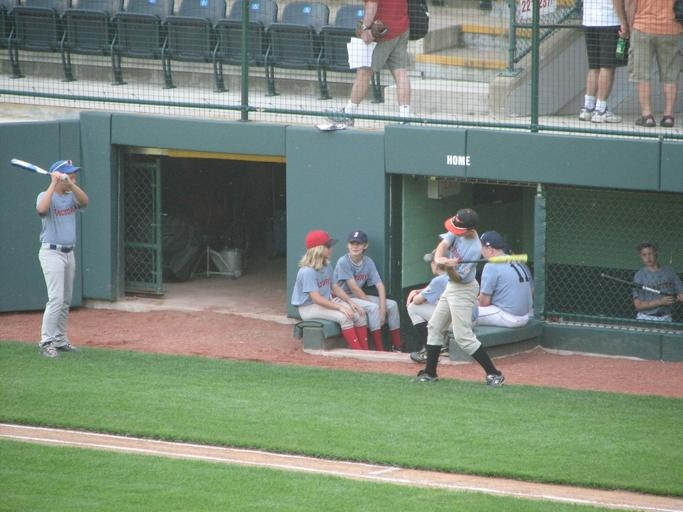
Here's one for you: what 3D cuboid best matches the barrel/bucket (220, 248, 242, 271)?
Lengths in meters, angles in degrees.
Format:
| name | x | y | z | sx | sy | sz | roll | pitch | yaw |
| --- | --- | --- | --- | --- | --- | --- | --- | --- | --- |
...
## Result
| name | x | y | z | sx | sy | sz | roll | pitch | yaw |
| --- | --- | --- | --- | --- | --- | --- | --- | --- | --- |
| barrel/bucket | -1.563 | 0.072 | 19.536 | 0.316 | 0.297 | 0.252 | 0 | 2 | -14 |

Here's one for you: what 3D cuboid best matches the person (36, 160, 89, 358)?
| name | x | y | z | sx | sy | sz | roll | pitch | yaw |
| --- | --- | --- | --- | --- | --- | --- | --- | --- | --- |
| person | -3.047 | 0.021 | 14.745 | 0.532 | 2.131 | 0.363 | -1 | 3 | -29 |

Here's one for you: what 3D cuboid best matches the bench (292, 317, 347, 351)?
| name | x | y | z | sx | sy | sz | roll | pitch | yaw |
| --- | --- | --- | --- | --- | --- | --- | --- | --- | --- |
| bench | -0.274 | 0.900 | 15.537 | 0.346 | 0.235 | 0.455 | 1 | 3 | 19 |

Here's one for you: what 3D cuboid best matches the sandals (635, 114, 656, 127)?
| name | x | y | z | sx | sy | sz | roll | pitch | yaw |
| --- | --- | --- | --- | --- | --- | --- | --- | --- | --- |
| sandals | 3.518 | -1.574 | 15.631 | 0.111 | 0.114 | 0.263 | -2 | 6 | -23 |

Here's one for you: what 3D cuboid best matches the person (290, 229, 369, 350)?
| name | x | y | z | sx | sy | sz | roll | pitch | yaw |
| --- | --- | --- | --- | --- | --- | --- | --- | --- | --- |
| person | -0.045 | 0.490 | 15.693 | 1.008 | 1.463 | 0.617 | 0 | 8 | 31 |

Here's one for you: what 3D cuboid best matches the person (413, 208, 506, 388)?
| name | x | y | z | sx | sy | sz | roll | pitch | yaw |
| --- | --- | --- | --- | --- | --- | --- | --- | --- | --- |
| person | 1.233 | 0.415 | 14.132 | 0.847 | 1.829 | 1.040 | 0 | 3 | 3 |

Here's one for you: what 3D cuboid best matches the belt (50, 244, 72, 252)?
| name | x | y | z | sx | sy | sz | roll | pitch | yaw |
| --- | --- | --- | --- | --- | --- | --- | --- | --- | --- |
| belt | -3.030 | -0.083 | 14.692 | 0.253 | 0.099 | 0.068 | -2 | 4 | -38 |

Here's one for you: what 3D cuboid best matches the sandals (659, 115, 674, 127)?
| name | x | y | z | sx | sy | sz | roll | pitch | yaw |
| --- | --- | --- | --- | --- | --- | --- | --- | --- | --- |
| sandals | 3.767 | -1.566 | 15.612 | 0.157 | 0.145 | 0.212 | 1 | 3 | 13 |
